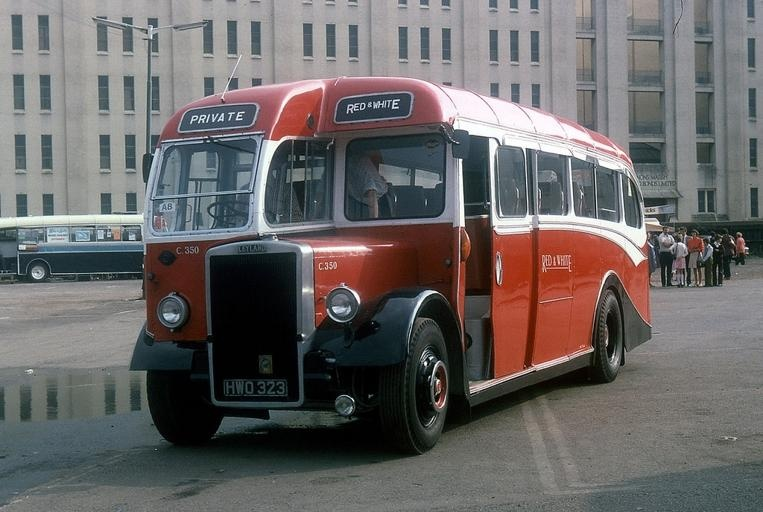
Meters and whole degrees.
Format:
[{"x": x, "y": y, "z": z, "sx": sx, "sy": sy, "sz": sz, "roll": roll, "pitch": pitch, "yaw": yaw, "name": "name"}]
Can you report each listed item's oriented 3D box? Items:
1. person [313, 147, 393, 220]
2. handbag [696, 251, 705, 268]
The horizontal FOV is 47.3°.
[{"x": -0.333, "y": -0.857, "z": 10.543, "sx": 0.586, "sy": 0.889, "sz": 0.288, "roll": 1, "pitch": 0, "yaw": 1, "name": "person"}, {"x": 11.980, "y": 0.147, "z": 32.658, "sx": 0.210, "sy": 0.575, "sz": 0.280, "roll": 0, "pitch": 3, "yaw": 20, "name": "handbag"}]
